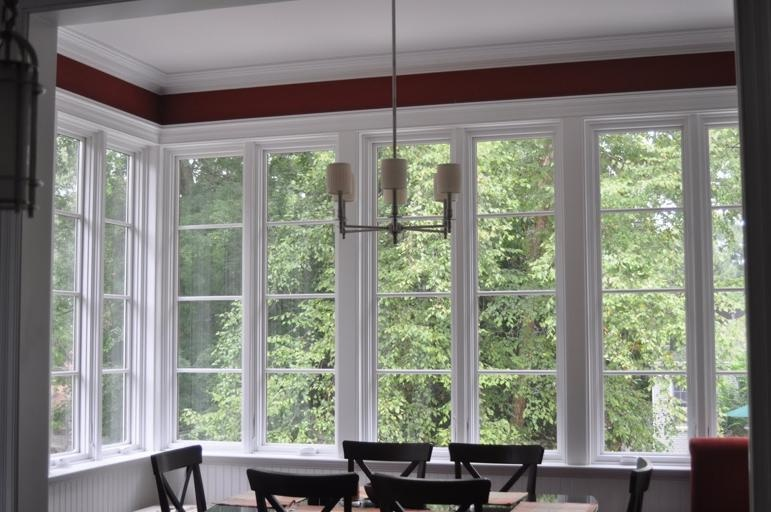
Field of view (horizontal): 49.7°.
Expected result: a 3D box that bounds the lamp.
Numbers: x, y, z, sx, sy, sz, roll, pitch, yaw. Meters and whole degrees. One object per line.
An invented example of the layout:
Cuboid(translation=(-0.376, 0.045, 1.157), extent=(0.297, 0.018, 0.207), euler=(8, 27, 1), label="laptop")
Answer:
Cuboid(translation=(0.091, -0.943, 6.164), extent=(0.998, 1.817, 1.883), euler=(-1, -3, -1), label="lamp")
